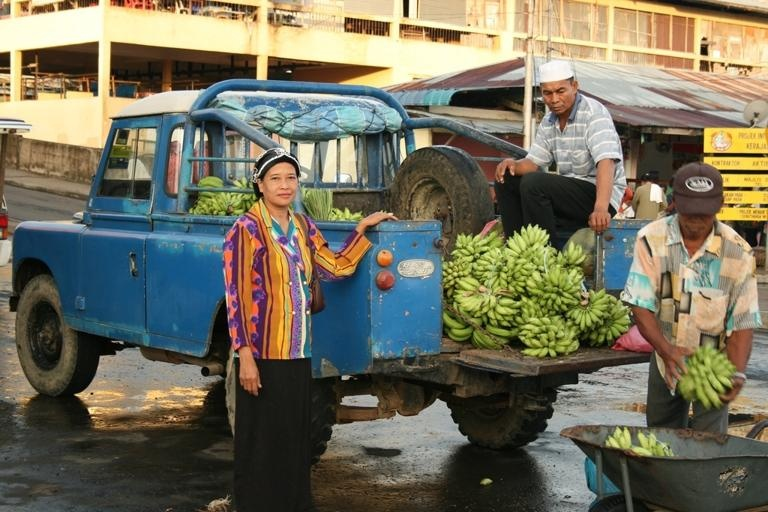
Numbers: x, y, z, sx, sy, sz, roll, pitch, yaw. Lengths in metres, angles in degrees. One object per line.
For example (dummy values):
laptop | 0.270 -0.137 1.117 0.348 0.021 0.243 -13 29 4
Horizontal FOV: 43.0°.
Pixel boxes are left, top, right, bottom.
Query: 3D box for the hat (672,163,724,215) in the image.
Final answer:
hat | 2.430 -0.514 7.546 0.368 0.387 0.255 4 11 19

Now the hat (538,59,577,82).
hat | 1.712 -1.824 9.692 0.312 0.218 0.514 2 11 7

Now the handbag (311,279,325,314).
handbag | -0.563 0.341 8.153 0.124 0.343 0.248 -1 -9 5

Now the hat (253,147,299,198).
hat | -0.905 -0.730 7.972 0.305 0.424 0.238 -1 31 -22
